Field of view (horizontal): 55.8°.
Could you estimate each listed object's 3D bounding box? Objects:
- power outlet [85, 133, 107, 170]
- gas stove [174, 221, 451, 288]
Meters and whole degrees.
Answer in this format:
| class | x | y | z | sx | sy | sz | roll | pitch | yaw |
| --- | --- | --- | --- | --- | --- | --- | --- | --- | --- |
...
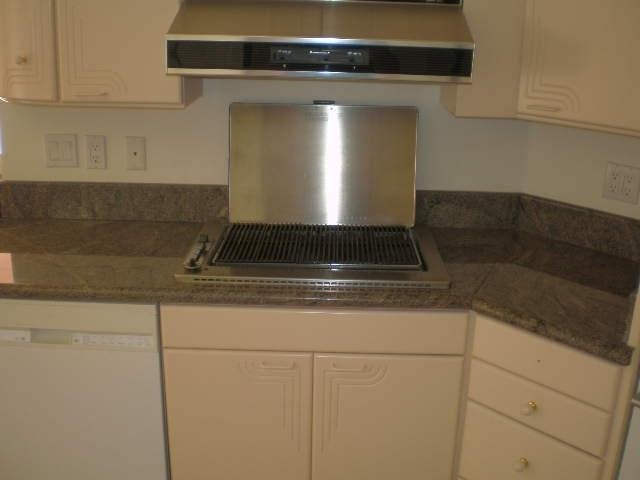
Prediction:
| class | x | y | z | sx | sy | sz | roll | pitch | yaw |
| --- | --- | --- | --- | --- | --- | --- | --- | --- | --- |
| power outlet | -0.954 | -0.379 | 2.587 | 0.089 | 0.144 | 0.027 | 3 | 3 | 2 |
| gas stove | -0.018 | 0.047 | 2.283 | 0.945 | 0.212 | 0.424 | 3 | 3 | 1 |
